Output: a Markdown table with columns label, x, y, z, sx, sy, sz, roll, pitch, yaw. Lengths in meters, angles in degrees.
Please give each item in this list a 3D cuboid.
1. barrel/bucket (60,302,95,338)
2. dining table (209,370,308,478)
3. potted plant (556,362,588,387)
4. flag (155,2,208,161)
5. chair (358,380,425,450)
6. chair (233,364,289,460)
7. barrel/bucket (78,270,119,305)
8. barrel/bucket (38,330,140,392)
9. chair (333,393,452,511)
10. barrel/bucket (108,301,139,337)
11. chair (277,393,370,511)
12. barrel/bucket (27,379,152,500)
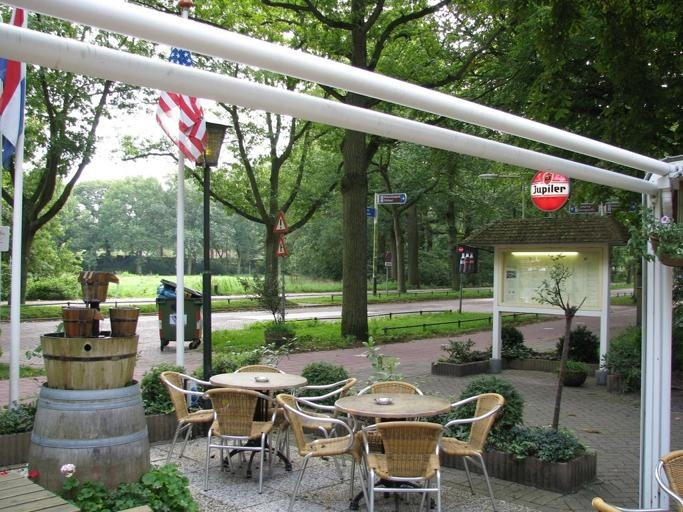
| label | x | y | z | sx | sy | sz | roll | pitch | yaw |
| --- | --- | --- | --- | --- | --- | --- | --- | --- | --- |
| barrel/bucket | -2.288 | 0.545 | 5.819 | 0.287 | 0.218 | 0.272 | -1 | -8 | 0 |
| dining table | -1.168 | 2.146 | 8.978 | 1.246 | 1.069 | 1.236 | 0 | 5 | -17 |
| potted plant | 4.961 | 2.486 | 14.187 | 0.600 | 0.520 | 0.369 | 4 | -7 | -6 |
| flag | -2.594 | -2.649 | 10.920 | 0.784 | 2.323 | 1.146 | 6 | -8 | -17 |
| chair | 0.594 | 1.960 | 8.530 | 0.799 | 0.797 | 0.658 | -2 | -14 | 12 |
| chair | -1.253 | 2.083 | 9.724 | 1.077 | 1.115 | 1.017 | -1 | 3 | -5 |
| barrel/bucket | -2.294 | 0.279 | 6.222 | 0.352 | 0.274 | 0.338 | -1 | -6 | 0 |
| barrel/bucket | -2.222 | 0.915 | 5.891 | 0.621 | 0.352 | 0.594 | 2 | -7 | 0 |
| chair | 0.571 | 2.099 | 7.715 | 1.291 | 0.868 | 1.220 | -1 | 4 | -14 |
| barrel/bucket | -1.994 | 0.565 | 6.028 | 0.291 | 0.238 | 0.282 | 0 | -9 | 0 |
| chair | -0.264 | 2.222 | 7.940 | 1.197 | 1.420 | 1.211 | -2 | -5 | 1 |
| barrel/bucket | -2.267 | 1.631 | 6.179 | 0.955 | 0.900 | 0.925 | 2 | -2 | 0 |
